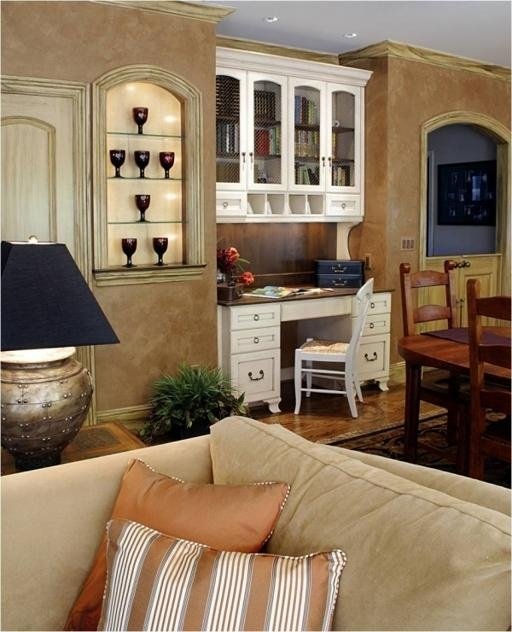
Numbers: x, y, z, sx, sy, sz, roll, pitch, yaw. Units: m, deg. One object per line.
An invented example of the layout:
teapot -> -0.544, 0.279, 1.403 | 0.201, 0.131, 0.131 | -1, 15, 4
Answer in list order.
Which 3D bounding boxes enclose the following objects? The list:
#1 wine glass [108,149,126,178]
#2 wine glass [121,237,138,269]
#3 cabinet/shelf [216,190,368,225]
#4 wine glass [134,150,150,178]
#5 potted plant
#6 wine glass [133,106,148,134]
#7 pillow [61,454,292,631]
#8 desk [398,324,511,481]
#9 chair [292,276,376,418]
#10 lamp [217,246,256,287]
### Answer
wine glass -> -0.911, -1.012, 3.432 | 0.111, 0.195, 0.182 | -3, 4, -15
wine glass -> -0.861, -0.426, 3.526 | 0.104, 0.204, 0.220 | -3, 4, -15
cabinet/shelf -> 0.321, -0.948, 4.517 | 1.584, 0.328, 0.130 | -4, 5, -34
wine glass -> -0.773, -1.027, 3.522 | 0.105, 0.175, 0.192 | -2, 4, -11
potted plant -> -0.409, 0.608, 3.508 | 0.584, 0.426, 0.551 | -2, 1, -30
wine glass -> -0.768, -1.322, 3.486 | 0.107, 0.201, 0.183 | -2, 4, -13
pillow -> -0.127, 0.418, 0.987 | 0.337, 0.340, 0.107 | -2, -34, 39
desk -> 1.046, 0.434, 2.868 | 0.784, 0.598, 0.612 | -8, 12, -43
chair -> 0.629, 0.241, 4.205 | 0.635, 1.056, 1.049 | -1, 4, 11
lamp -> -0.163, -0.413, 4.372 | 0.289, 0.353, 0.712 | -1, 4, 0
